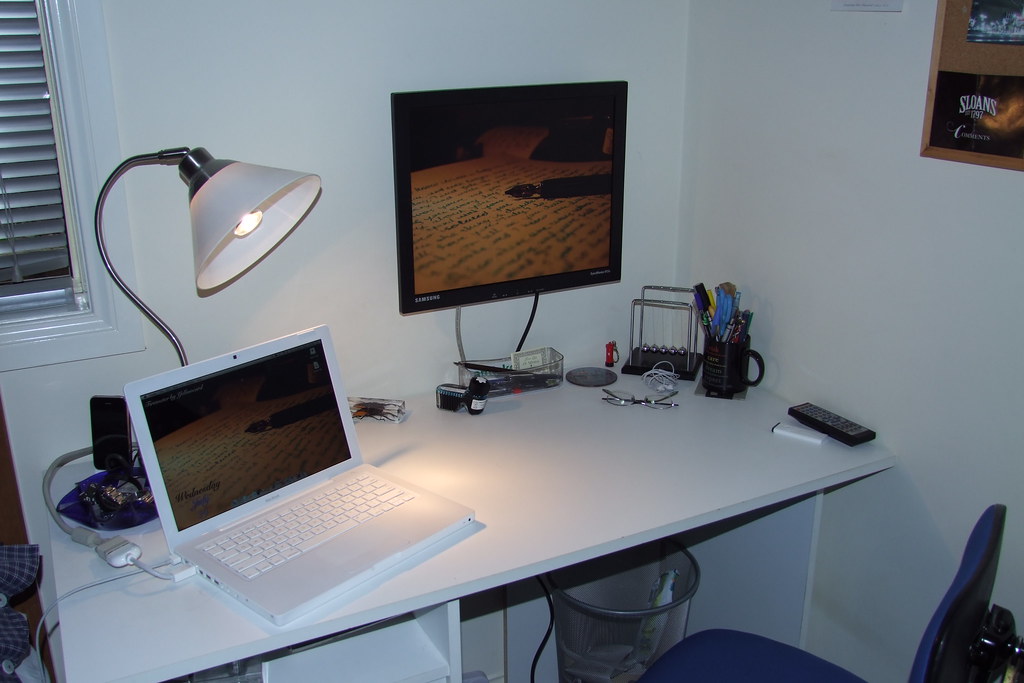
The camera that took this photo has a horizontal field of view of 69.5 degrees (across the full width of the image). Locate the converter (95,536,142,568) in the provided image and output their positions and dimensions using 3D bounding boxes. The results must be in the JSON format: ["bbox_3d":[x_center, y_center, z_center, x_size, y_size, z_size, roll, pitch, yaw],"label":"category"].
[{"bbox_3d":[-0.818,0.442,1.536,0.110,0.045,0.055,1,21,4],"label":"converter"}]

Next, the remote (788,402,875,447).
[{"bbox_3d":[0.818,0.209,1.880,0.085,0.039,0.167,-12,26,-34],"label":"remote"}]

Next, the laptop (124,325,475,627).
[{"bbox_3d":[-0.452,0.262,1.529,0.512,0.429,0.407,-15,25,-33],"label":"laptop"}]

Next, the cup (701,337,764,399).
[{"bbox_3d":[0.623,0.074,2.087,0.172,0.156,0.117,2,-6,32],"label":"cup"}]

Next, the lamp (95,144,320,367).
[{"bbox_3d":[-0.658,-0.117,1.586,0.444,0.556,0.297,-5,-10,-21],"label":"lamp"}]

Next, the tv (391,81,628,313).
[{"bbox_3d":[-0.029,-0.417,2.010,0.607,0.529,0.043,-10,24,-19],"label":"tv"}]
